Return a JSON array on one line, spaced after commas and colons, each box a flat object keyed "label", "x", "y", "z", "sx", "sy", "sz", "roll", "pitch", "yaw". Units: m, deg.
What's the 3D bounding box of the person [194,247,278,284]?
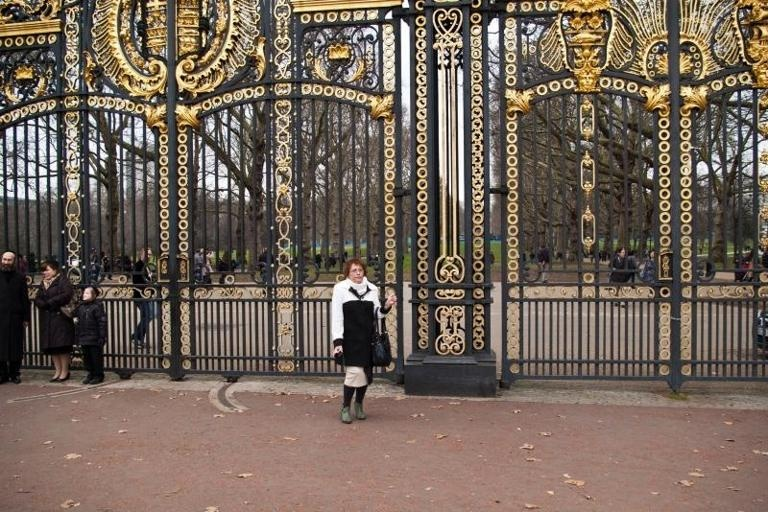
[{"label": "person", "x": -2.448, "y": 0.158, "z": 19.113, "sx": 1.327, "sy": 0.598, "sz": 0.569, "roll": -1, "pitch": -2, "yaw": -1}]

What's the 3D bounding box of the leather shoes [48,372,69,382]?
[{"label": "leather shoes", "x": -5.327, "y": 2.013, "z": 19.300, "sx": 0.136, "sy": 0.102, "sz": 0.243, "roll": -8, "pitch": -12, "yaw": 37}]

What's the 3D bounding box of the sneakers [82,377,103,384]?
[{"label": "sneakers", "x": -4.746, "y": 2.046, "z": 19.089, "sx": 0.123, "sy": 0.094, "sz": 0.213, "roll": -4, "pitch": -12, "yaw": 20}]

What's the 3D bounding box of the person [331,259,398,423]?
[{"label": "person", "x": -0.332, "y": 1.232, "z": 17.149, "sx": 0.832, "sy": 2.399, "sz": 0.509, "roll": -1, "pitch": -2, "yaw": -2}]

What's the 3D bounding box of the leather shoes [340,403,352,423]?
[{"label": "leather shoes", "x": -0.549, "y": 2.309, "z": 17.060, "sx": 0.212, "sy": 0.249, "sz": 0.606, "roll": 0, "pitch": -8, "yaw": -6}]

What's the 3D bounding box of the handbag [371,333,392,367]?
[{"label": "handbag", "x": -0.047, "y": 1.375, "z": 17.082, "sx": 0.244, "sy": 0.500, "sz": 0.530, "roll": -4, "pitch": -5, "yaw": 12}]
